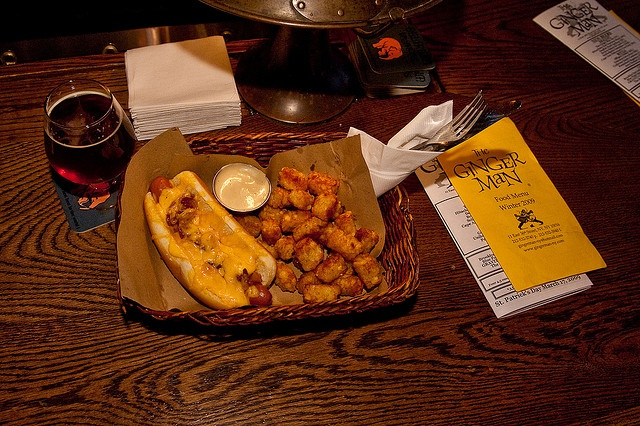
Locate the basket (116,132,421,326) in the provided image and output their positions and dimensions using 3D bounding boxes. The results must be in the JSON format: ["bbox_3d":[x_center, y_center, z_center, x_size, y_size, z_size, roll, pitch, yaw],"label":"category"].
[{"bbox_3d":[-0.167,0.054,1.816,1.154,0.297,0.747,-4,61,-10],"label":"basket"}]

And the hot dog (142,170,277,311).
[{"bbox_3d":[-0.501,0.149,1.872,0.648,0.225,0.344,44,59,3],"label":"hot dog"}]
